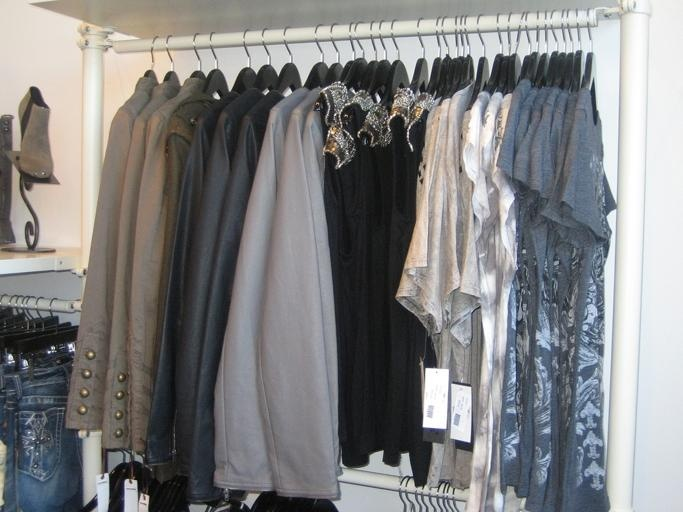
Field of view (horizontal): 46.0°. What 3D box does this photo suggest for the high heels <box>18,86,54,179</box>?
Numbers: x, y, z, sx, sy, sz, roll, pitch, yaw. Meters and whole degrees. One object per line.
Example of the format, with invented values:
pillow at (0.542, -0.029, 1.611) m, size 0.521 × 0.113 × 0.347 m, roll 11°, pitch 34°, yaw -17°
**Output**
high heels at (-0.929, -0.367, 2.436) m, size 0.097 × 0.280 × 0.067 m, roll 2°, pitch -6°, yaw -16°
